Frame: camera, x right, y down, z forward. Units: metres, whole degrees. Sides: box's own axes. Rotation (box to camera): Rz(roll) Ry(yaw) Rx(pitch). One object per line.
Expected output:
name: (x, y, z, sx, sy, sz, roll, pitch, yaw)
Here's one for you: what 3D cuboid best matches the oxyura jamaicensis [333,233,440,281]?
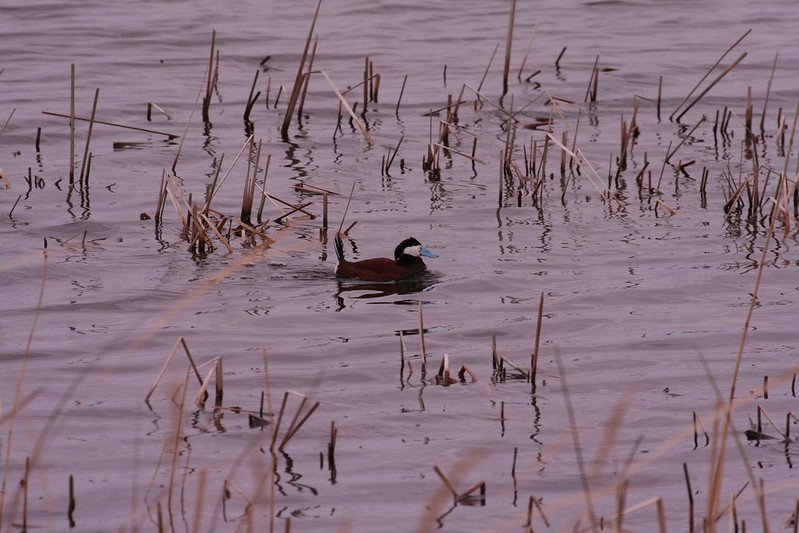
oxyura jamaicensis: (-0.299, -0.075, 13.097, 1.459, 0.404, 0.538, -2, 17, -40)
